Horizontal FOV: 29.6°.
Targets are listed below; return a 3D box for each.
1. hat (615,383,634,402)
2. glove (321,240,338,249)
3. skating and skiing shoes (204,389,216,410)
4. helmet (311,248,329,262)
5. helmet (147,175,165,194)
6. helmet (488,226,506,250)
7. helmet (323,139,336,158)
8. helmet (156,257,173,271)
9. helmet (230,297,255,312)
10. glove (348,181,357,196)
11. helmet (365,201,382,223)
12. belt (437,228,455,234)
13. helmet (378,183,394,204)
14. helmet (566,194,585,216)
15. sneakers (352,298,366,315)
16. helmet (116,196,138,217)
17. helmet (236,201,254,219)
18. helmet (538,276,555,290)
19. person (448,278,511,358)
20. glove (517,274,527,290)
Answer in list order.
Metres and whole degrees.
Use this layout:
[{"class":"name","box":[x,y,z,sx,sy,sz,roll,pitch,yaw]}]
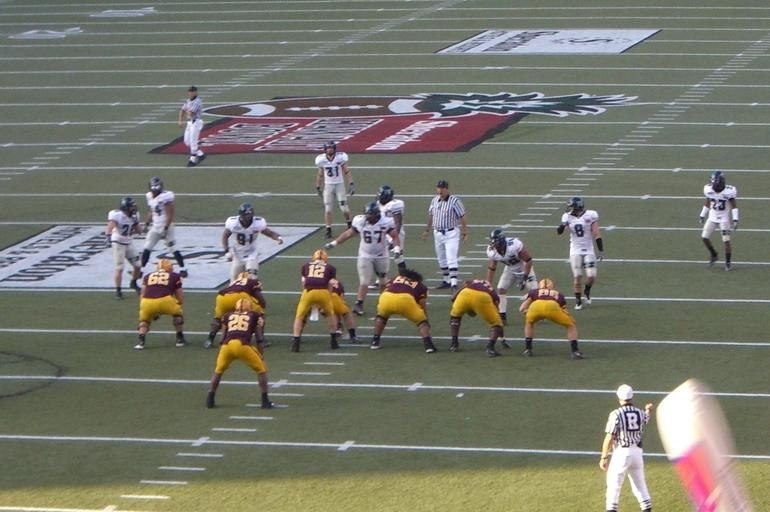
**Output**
[{"class":"hat","box":[4.109,2.254,24.900,0.384,0.136,0.376,-1,59,8]},{"class":"glove","box":[-1.158,-0.259,30.803,0.233,0.131,0.540,1,-4,-15]},{"class":"skating and skiing shoes","box":[-3.299,2.614,27.612,0.205,0.379,0.268,-7,19,-5]},{"class":"helmet","box":[-1.310,-0.049,29.717,0.284,0.246,0.256,3,9,2]},{"class":"helmet","box":[-5.279,-1.612,33.143,0.545,0.469,0.547,-2,25,-7]},{"class":"helmet","box":[2.364,-0.346,30.297,0.329,0.429,0.340,-6,18,-3]},{"class":"helmet","box":[-1.312,-2.600,35.432,0.242,0.356,0.291,-9,19,-10]},{"class":"helmet","box":[-4.713,0.145,31.269,0.220,0.214,0.250,13,-14,30]},{"class":"helmet","box":[-2.692,0.888,27.591,0.414,0.256,0.252,-11,-1,-5]},{"class":"glove","box":[-0.731,-1.648,35.882,0.154,0.316,0.245,-7,39,-25]},{"class":"helmet","box":[-0.208,-0.962,30.857,0.416,0.381,0.421,-6,28,3]},{"class":"belt","box":[1.376,-0.605,32.234,0.366,0.099,0.075,-5,18,-7]},{"class":"helmet","box":[0.057,-1.381,32.532,0.496,0.345,0.316,2,6,8]},{"class":"helmet","box":[4.091,-1.088,31.231,0.343,0.390,0.424,-4,17,4]},{"class":"sneakers","box":[-0.547,1.052,31.004,0.164,0.381,0.171,4,62,2]},{"class":"helmet","box":[-5.688,-1.168,32.478,0.412,0.415,0.548,18,22,41]},{"class":"helmet","box":[-2.905,-0.989,31.244,0.408,0.309,0.448,-1,20,-33]},{"class":"helmet","box":[3.212,0.567,29.009,0.288,0.293,0.255,2,42,4]},{"class":"person","box":[1.854,1.187,29.259,1.157,1.431,0.822,-1,20,12]},{"class":"glove","box":[2.921,0.499,30.678,0.161,0.359,0.103,17,38,-27]}]
